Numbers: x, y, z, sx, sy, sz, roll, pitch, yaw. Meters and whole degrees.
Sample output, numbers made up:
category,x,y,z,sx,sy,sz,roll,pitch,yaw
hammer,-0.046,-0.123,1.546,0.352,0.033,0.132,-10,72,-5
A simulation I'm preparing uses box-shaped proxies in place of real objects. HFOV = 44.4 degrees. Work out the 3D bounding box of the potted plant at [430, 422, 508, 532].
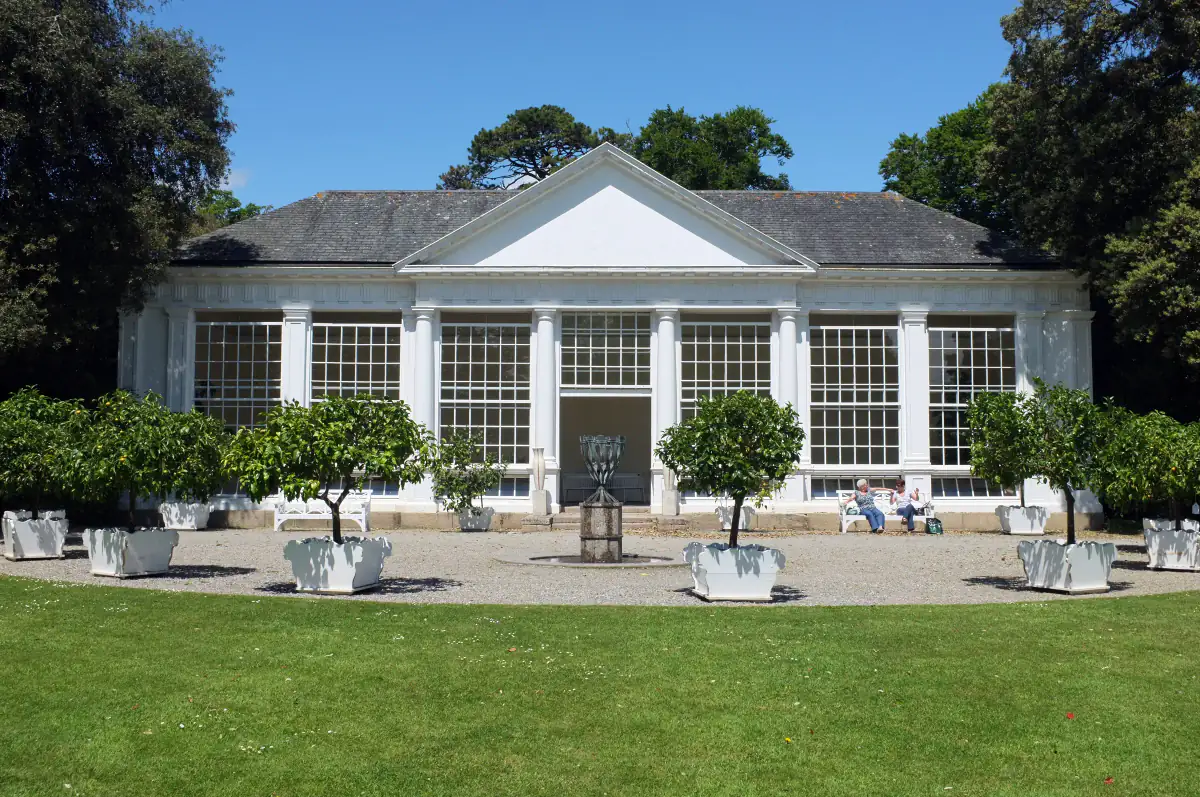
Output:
category,x,y,z,sx,sy,sz,roll,pitch,yaw
potted plant,-4.685,2.492,47.061,3.056,4.066,2.519,4,-8,-40

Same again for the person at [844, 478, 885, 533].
category,x,y,z,sx,sy,sz,roll,pitch,yaw
person,8.467,3.298,46.305,0.867,1.632,1.119,4,-8,-36

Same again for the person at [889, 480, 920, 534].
category,x,y,z,sx,sy,sz,roll,pitch,yaw
person,9.673,3.401,46.694,0.837,2.090,1.095,0,-49,6
